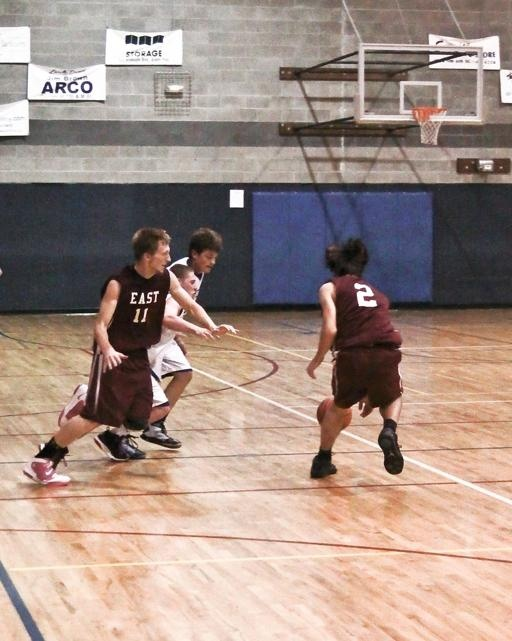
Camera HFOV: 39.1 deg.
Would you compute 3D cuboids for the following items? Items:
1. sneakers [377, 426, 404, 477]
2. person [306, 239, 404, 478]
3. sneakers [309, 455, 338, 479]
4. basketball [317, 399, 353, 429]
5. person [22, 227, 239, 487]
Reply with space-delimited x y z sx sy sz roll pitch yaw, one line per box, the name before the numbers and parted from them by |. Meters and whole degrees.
sneakers | 0.604 0.568 3.186 0.109 0.220 0.105 -7 6 13
person | 0.481 0.205 3.354 0.448 1.171 0.490 4 4 9
sneakers | 0.329 0.721 3.573 0.066 0.110 0.186 6 10 32
basketball | 0.365 0.443 3.610 0.159 0.169 0.191 20 -14 7
person | -0.619 0.178 3.352 0.833 1.220 0.479 2 4 -19
